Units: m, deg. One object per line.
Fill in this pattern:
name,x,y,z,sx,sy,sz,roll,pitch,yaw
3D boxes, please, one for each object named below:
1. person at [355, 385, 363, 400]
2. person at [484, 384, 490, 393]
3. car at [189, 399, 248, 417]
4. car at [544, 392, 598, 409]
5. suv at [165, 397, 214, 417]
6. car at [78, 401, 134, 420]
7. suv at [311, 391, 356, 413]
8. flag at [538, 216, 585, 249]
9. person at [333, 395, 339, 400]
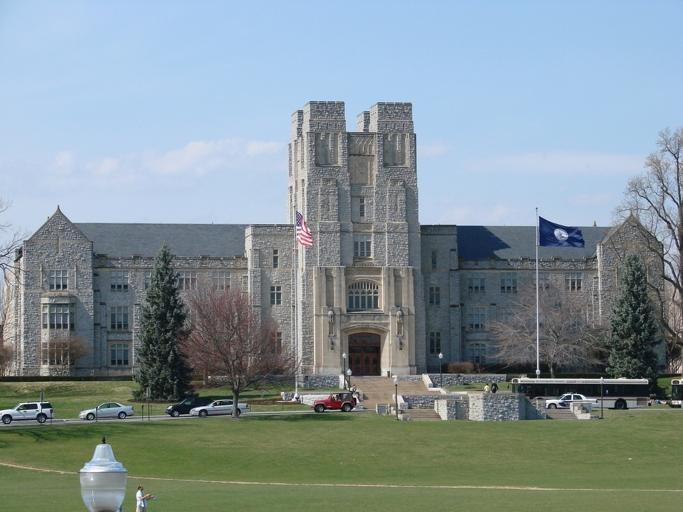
person,1.478,12.283,163.749,0.728,1.195,1.236,-4,-1,-24
person,13.059,11.753,162.776,0.662,0.732,1.344,0,-44,4
car,-10.350,12.763,152.925,4.326,1.152,1.727,2,-6,-8
car,19.675,12.571,156.860,4.022,1.221,1.734,1,-4,-3
suv,-13.209,12.755,154.628,3.436,1.059,1.401,-1,-3,-22
car,-19.607,12.748,150.495,4.050,1.167,1.633,2,-4,-19
suv,-0.538,12.410,155.200,2.965,1.248,1.680,2,-6,-8
flag,18.907,-1.930,157.802,3.846,2.625,0.616,1,-7,3
person,-0.495,11.964,154.958,0.436,0.716,0.407,-2,-22,3
